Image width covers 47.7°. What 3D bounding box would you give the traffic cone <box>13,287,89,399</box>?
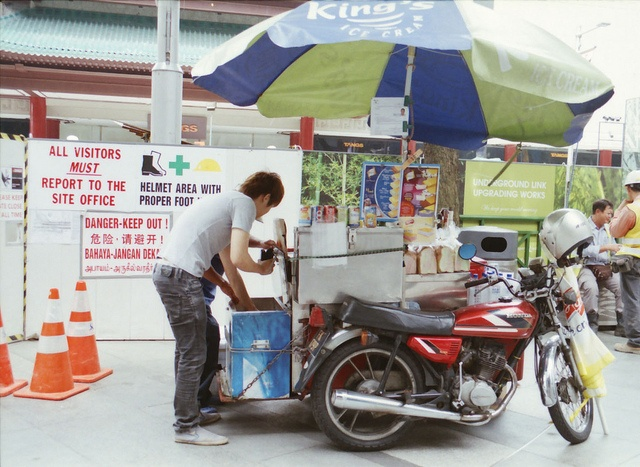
[{"bbox_3d":[-2.887,1.170,7.817,0.681,1.103,0.771,2,3,7],"label":"traffic cone"}]

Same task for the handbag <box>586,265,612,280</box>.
[{"bbox_3d":[4.098,0.542,10.536,0.197,0.124,0.249,-3,7,-25],"label":"handbag"}]

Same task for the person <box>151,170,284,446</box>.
[{"bbox_3d":[-0.989,0.686,7.005,0.840,2.629,0.964,1,0,32],"label":"person"}]

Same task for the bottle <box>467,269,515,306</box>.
[{"bbox_3d":[1.720,0.548,7.366,0.284,0.529,0.278,0,-19,0],"label":"bottle"}]

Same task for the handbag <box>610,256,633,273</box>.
[{"bbox_3d":[4.010,0.367,9.619,0.197,0.262,0.233,-9,4,10],"label":"handbag"}]

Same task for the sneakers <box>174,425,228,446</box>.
[{"bbox_3d":[-1.115,1.907,6.884,0.500,0.192,0.192,2,-4,-7],"label":"sneakers"}]

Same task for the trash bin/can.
[{"bbox_3d":[2.092,0.181,8.874,0.808,0.629,0.836,4,9,29],"label":"trash bin/can"}]

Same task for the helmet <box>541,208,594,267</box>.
[{"bbox_3d":[2.457,0.014,7.170,0.434,0.572,0.566,-8,11,-19],"label":"helmet"}]
